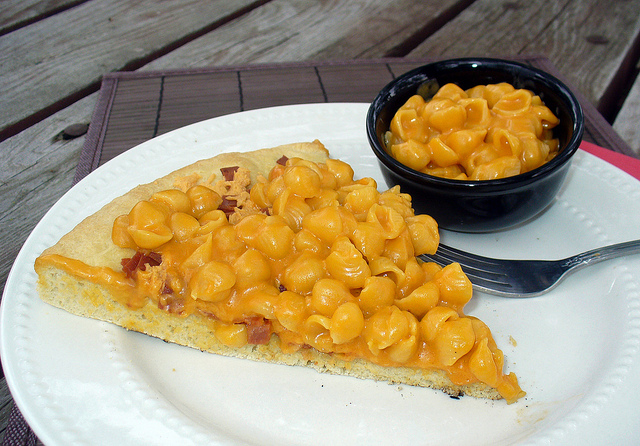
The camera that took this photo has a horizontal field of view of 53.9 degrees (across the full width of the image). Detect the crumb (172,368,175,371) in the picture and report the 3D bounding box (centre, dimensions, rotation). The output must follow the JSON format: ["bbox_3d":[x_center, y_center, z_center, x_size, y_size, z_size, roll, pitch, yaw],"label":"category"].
[{"bbox_3d":[-0.794,0.791,3.401,0.010,0.005,0.016,-16,60,0],"label":"crumb"}]

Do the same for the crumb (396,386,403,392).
[{"bbox_3d":[0.427,0.892,3.385,0.024,0.007,0.018,-17,35,-5],"label":"crumb"}]
